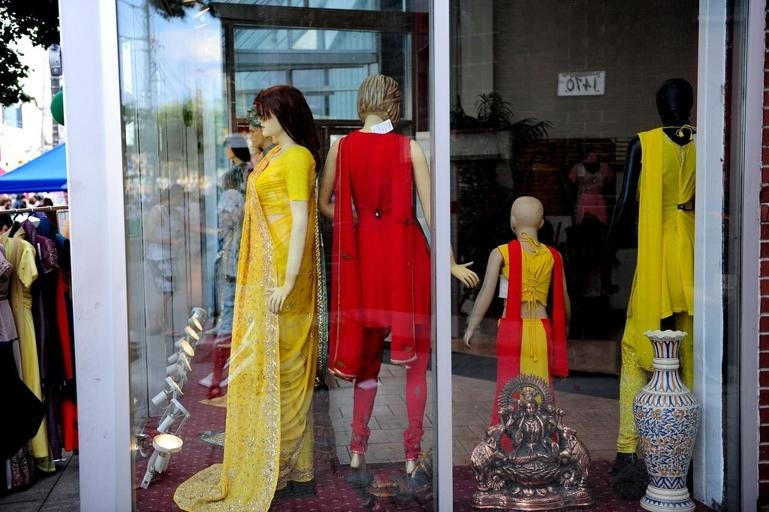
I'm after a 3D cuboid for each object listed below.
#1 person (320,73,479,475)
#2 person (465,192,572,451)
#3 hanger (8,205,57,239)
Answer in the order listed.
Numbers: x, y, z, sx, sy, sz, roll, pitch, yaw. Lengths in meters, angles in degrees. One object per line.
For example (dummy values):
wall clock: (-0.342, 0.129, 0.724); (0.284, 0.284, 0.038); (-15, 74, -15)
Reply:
person: (-0.035, 0.090, 3.678); (0.525, 1.922, 0.243); (-2, 6, 1)
person: (0.724, 0.370, 3.921); (0.607, 1.416, 0.371); (-4, 19, -1)
hanger: (-2.093, -0.199, 4.495); (0.260, 0.103, 0.267); (8, 12, 29)
